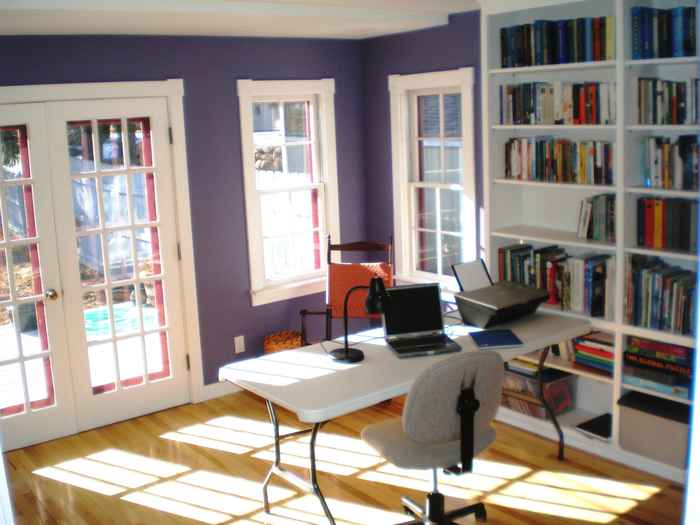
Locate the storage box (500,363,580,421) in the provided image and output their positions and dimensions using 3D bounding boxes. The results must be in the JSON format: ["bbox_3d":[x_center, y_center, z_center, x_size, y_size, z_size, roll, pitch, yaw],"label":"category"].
[{"bbox_3d":[1.403,0.928,4.376,0.440,0.273,0.426,-4,7,-34],"label":"storage box"}]

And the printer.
[{"bbox_3d":[0.920,0.215,4.024,0.508,0.329,0.473,-11,17,-34],"label":"printer"}]

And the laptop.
[{"bbox_3d":[0.413,0.352,3.678,0.502,0.397,0.403,-5,10,-21],"label":"laptop"}]

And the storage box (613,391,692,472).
[{"bbox_3d":[1.954,1.060,3.837,0.391,0.345,0.400,10,15,42],"label":"storage box"}]

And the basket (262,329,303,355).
[{"bbox_3d":[-0.580,0.681,5.154,0.315,0.130,0.255,-4,6,-35],"label":"basket"}]

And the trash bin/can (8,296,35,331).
[{"bbox_3d":[-2.385,0.394,4.363,0.189,0.154,0.201,-1,0,-20],"label":"trash bin/can"}]
